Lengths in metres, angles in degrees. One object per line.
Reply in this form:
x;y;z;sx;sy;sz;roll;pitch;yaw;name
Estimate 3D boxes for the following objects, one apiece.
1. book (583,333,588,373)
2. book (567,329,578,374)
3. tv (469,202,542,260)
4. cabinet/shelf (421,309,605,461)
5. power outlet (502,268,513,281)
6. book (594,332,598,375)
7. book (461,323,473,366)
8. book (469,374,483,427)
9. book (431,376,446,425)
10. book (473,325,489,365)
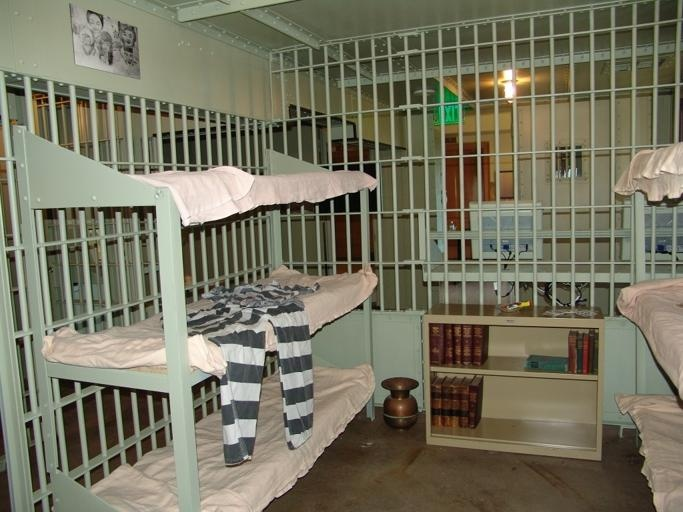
2.080;0.834;4.707;0.056;0.325;0.034;-7;6;-35;book
1.985;0.834;4.773;0.066;0.261;0.279;2;-1;13;book
1.685;-0.269;5.706;0.686;0.528;0.373;0;3;18;tv
1.556;1.162;4.956;1.419;1.057;0.477;0;1;14;cabinet/shelf
1.643;0.187;5.502;0.123;0.068;0.114;1;5;12;power outlet
2.150;0.815;4.672;0.044;0.358;0.093;-1;6;23;book
1.141;0.802;5.012;0.105;0.359;0.055;-2;5;10;book
1.233;1.327;5.083;0.147;0.389;0.373;-2;-40;18;book
0.886;1.345;5.082;0.142;0.337;0.373;1;10;10;book
1.258;0.806;5.026;0.131;0.316;0.352;1;9;16;book
